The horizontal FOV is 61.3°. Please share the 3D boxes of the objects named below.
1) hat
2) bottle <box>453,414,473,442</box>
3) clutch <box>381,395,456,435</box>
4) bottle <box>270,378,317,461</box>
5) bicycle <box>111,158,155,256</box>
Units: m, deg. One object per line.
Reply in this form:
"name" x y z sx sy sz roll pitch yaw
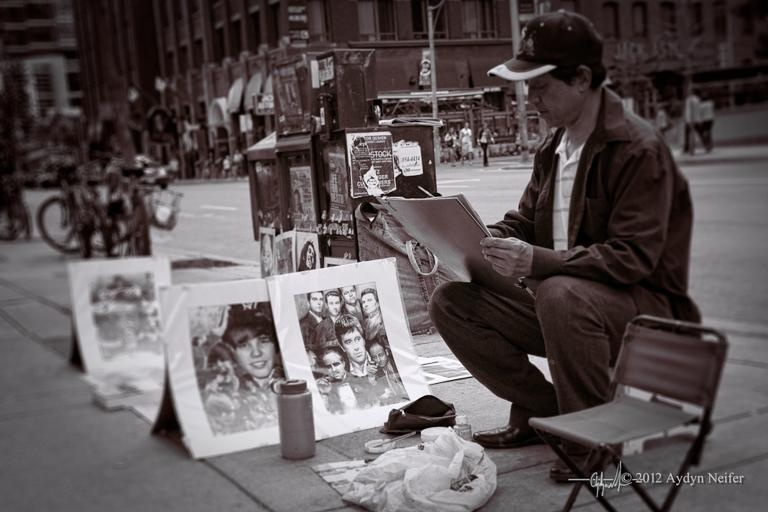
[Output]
"hat" 0.913 -1.183 3.650 0.647 0.403 0.454 -6 20 -6
"bottle" 0.477 1.046 3.960 0.096 0.190 0.102 -3 7 0
"clutch" 0.215 0.945 4.065 0.331 0.150 0.261 -8 0 1
"bottle" -0.530 0.972 3.868 0.216 0.435 0.224 -5 9 1
"bicycle" -2.906 -0.489 7.289 0.343 1.184 0.442 13 15 41
